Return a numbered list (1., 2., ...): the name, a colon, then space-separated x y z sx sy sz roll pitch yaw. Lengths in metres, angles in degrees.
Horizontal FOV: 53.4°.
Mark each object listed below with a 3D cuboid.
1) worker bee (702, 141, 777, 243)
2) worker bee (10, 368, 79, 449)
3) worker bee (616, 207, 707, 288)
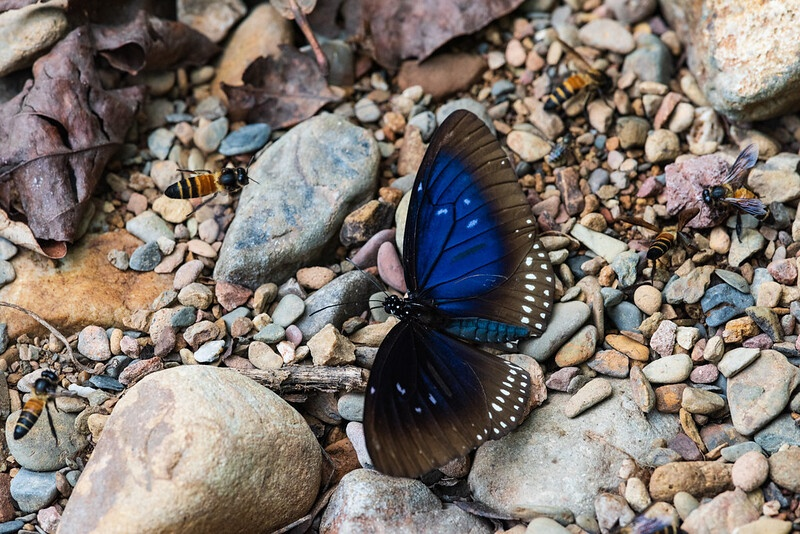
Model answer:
1. worker bee: 1.888 -0.398 4.615 0.408 0.455 0.264 20 89 -28
2. worker bee: -1.958 0.841 4.458 0.407 0.245 0.323 2 50 19
3. worker bee: 1.551 -0.174 4.634 0.402 0.410 0.220 -28 89 34
